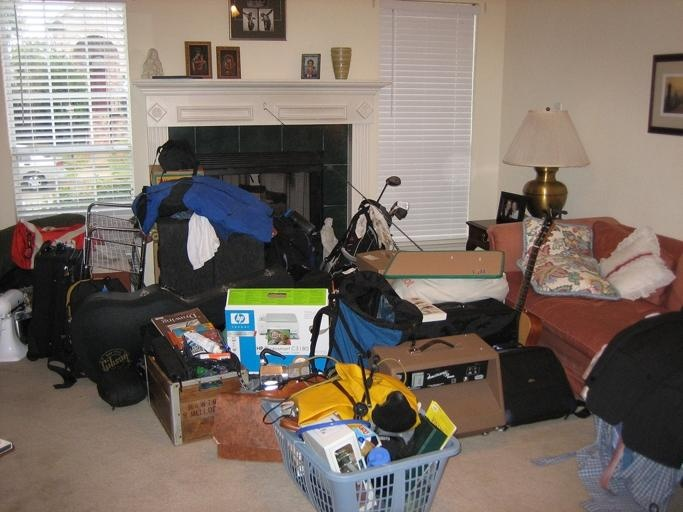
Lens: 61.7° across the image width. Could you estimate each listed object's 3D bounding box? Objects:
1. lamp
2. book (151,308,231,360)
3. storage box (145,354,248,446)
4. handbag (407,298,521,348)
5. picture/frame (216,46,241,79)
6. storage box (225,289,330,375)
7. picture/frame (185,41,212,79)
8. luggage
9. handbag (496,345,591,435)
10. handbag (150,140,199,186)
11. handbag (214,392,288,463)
[{"bbox_3d":[1.583,-0.718,4.449,0.485,0.850,0.443,-9,16,-27],"label":"lamp"},{"bbox_3d":[-0.839,0.433,3.121,0.297,0.055,0.532,-18,31,-34],"label":"book"},{"bbox_3d":[-0.779,0.741,3.084,0.471,0.300,0.461,-9,22,-38],"label":"storage box"},{"bbox_3d":[0.782,0.394,3.436,0.438,0.150,0.311,-3,4,-14],"label":"handbag"},{"bbox_3d":[-0.961,-1.633,4.799,0.280,0.360,0.027,-2,7,-19],"label":"picture/frame"},{"bbox_3d":[-0.363,0.428,3.272,0.571,0.468,0.177,0,3,-11],"label":"storage box"},{"bbox_3d":[-1.184,-1.625,4.723,0.216,0.297,0.104,-4,15,-12],"label":"picture/frame"},{"bbox_3d":[-1.881,0.306,3.884,0.426,0.674,0.403,5,6,-17],"label":"luggage"},{"bbox_3d":[1.075,0.721,3.191,0.433,0.132,0.442,2,54,-14],"label":"handbag"},{"bbox_3d":[-1.224,-0.750,4.258,0.441,0.442,0.146,-2,19,-9],"label":"handbag"},{"bbox_3d":[-0.510,0.831,2.836,0.436,0.440,0.141,3,9,0],"label":"handbag"}]
